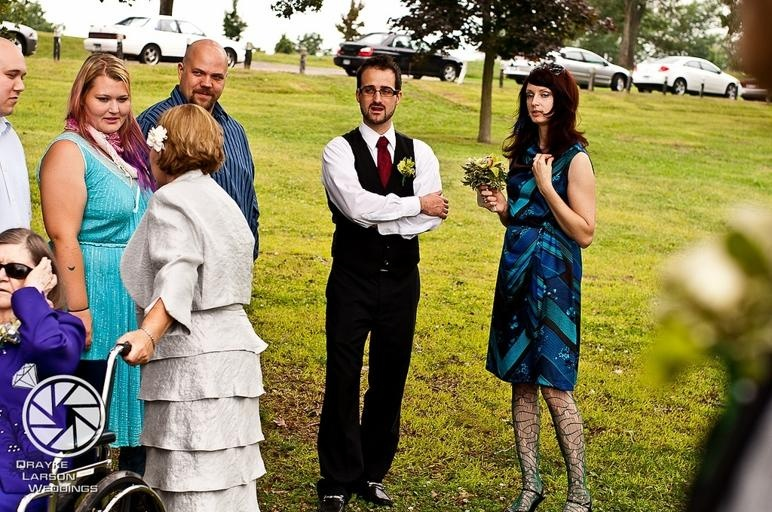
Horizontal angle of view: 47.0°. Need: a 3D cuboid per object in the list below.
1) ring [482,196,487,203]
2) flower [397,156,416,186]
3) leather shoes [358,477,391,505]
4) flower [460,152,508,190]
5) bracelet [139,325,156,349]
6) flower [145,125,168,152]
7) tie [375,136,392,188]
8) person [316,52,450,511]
[{"bbox_3d":[0.684,-0.392,6.153,0.037,0.049,0.016,0,5,8],"label":"ring"},{"bbox_3d":[0.148,-0.580,6.096,0.078,0.181,0.177,18,16,42],"label":"flower"},{"bbox_3d":[-0.078,1.675,6.287,0.245,0.139,0.099,14,-26,-11],"label":"leather shoes"},{"bbox_3d":[0.681,-0.591,6.285,0.282,0.193,0.279,0,10,-40],"label":"flower"},{"bbox_3d":[-1.238,0.429,4.652,0.025,0.076,0.096,-33,62,-9],"label":"bracelet"},{"bbox_3d":[-1.269,-0.647,4.913,0.107,0.147,0.079,8,12,7],"label":"flower"},{"bbox_3d":[-0.013,-0.645,6.082,0.120,0.324,0.078,15,14,33],"label":"tie"},{"bbox_3d":[-0.057,0.251,6.155,0.845,3.122,0.792,3,13,-17],"label":"person"}]
